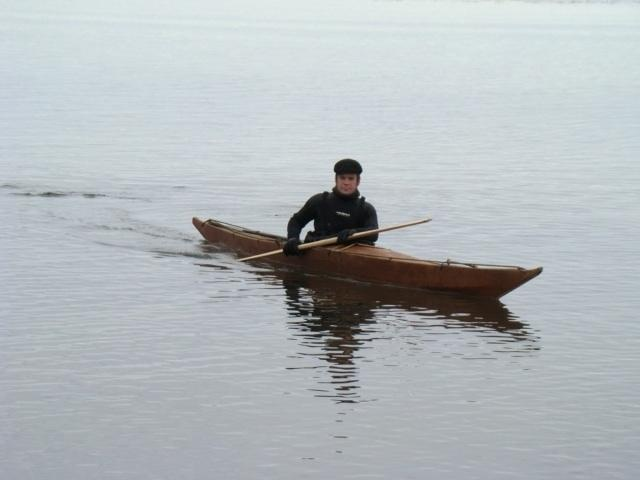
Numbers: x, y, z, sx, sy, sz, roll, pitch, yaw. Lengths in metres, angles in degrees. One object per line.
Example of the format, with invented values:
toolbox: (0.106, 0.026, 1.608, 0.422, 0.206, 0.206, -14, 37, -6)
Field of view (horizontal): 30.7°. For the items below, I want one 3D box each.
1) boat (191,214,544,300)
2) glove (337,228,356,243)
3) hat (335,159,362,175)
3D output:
boat: (0.904, 0.395, 23.456, 8.392, 1.032, 0.633, 8, 91, 29)
glove: (0.516, -0.090, 22.828, 0.415, 0.886, 0.208, -2, 87, -8)
hat: (0.532, -1.446, 23.002, 0.494, 0.432, 0.365, -4, 68, -4)
